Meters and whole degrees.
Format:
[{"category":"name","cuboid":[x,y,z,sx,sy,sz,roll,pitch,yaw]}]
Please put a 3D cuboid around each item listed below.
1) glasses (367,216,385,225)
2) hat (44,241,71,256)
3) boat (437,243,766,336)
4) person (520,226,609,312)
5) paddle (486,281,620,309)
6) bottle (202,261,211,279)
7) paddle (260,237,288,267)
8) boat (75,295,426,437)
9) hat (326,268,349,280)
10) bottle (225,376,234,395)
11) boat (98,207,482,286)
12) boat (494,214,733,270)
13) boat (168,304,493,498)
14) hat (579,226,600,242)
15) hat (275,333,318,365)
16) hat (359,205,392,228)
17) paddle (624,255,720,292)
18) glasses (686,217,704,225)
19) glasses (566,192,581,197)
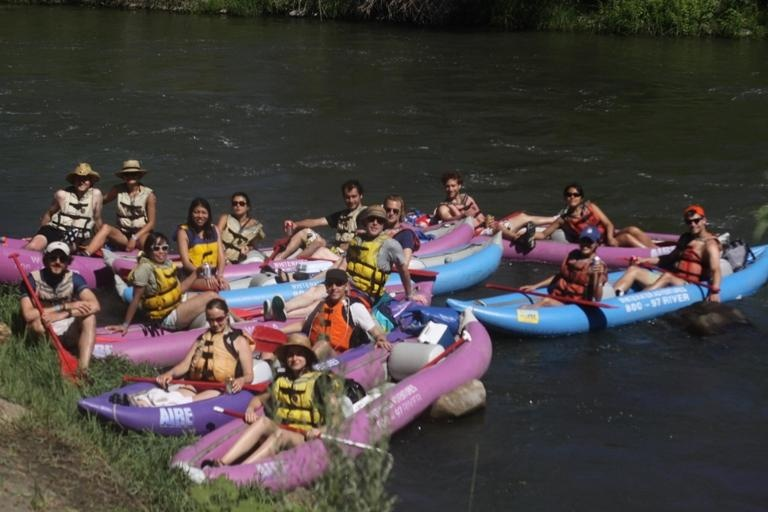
[{"category":"glasses","cuboid":[-0.087,-0.531,14.229,0.183,0.135,0.064,8,57,4]},{"category":"hat","cuboid":[-4.467,-0.099,13.079,0.315,0.173,0.239,-8,20,-22]},{"category":"boat","cuboid":[3.962,0.840,15.480,6.045,0.916,1.645,-8,16,-19]},{"category":"person","cuboid":[2.968,0.147,14.943,1.510,0.991,0.979,-19,37,-38]},{"category":"paddle","cuboid":[2.725,0.628,14.982,1.814,0.096,0.126,9,61,19]},{"category":"bottle","cuboid":[-2.724,0.238,14.748,0.129,0.216,0.053,-1,6,-5]},{"category":"paddle","cuboid":[-1.855,-0.068,16.358,0.740,0.221,0.214,-42,7,-31]},{"category":"boat","cuboid":[-1.430,1.947,13.285,5.565,0.770,1.541,-12,27,-25]},{"category":"hat","cuboid":[-0.651,0.269,13.269,0.305,0.185,0.244,-2,18,-5]},{"category":"bottle","cuboid":[-2.013,1.716,12.538,0.094,0.168,0.067,0,-6,13]},{"category":"boat","cuboid":[-0.857,-0.027,16.452,7.243,0.946,1.965,-5,9,-14]},{"category":"boat","cuboid":[3.560,-0.582,17.084,0.969,1.286,2.940,-35,26,-34]},{"category":"boat","cuboid":[-0.381,2.071,12.592,5.180,0.877,1.475,-24,18,-37]},{"category":"hat","cuboid":[3.169,-0.317,14.619,0.365,0.245,0.200,-11,21,-28]},{"category":"hat","cuboid":[-1.063,1.144,12.107,0.398,0.419,0.210,2,60,4]},{"category":"hat","cuboid":[-0.128,-0.652,14.496,0.364,0.462,0.203,3,66,-1]},{"category":"paddle","cuboid":[4.375,0.327,15.590,1.170,0.263,0.666,-6,21,-8]},{"category":"glasses","cuboid":[4.988,-0.553,15.332,0.244,0.148,0.142,3,19,12]},{"category":"glasses","cuboid":[3.320,-1.075,16.703,0.250,0.104,0.088,1,19,3]}]
